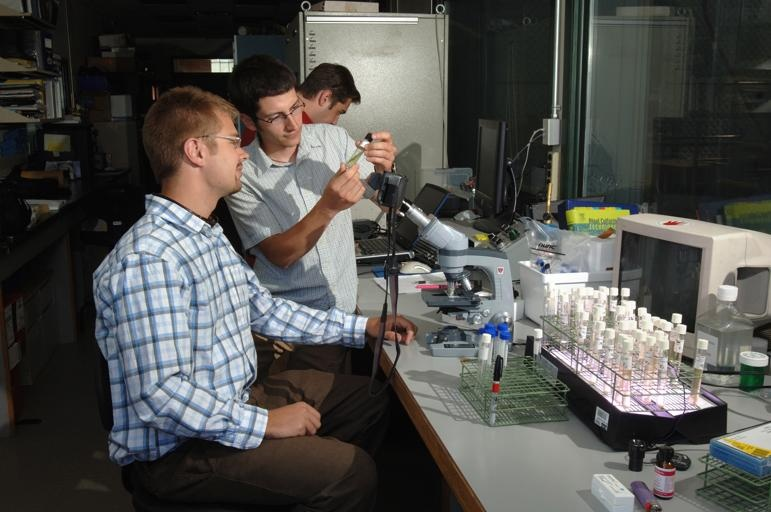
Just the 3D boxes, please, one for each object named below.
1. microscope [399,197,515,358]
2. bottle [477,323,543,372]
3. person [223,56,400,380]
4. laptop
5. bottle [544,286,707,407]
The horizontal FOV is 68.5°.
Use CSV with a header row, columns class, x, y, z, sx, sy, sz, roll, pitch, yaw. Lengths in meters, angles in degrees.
class,x,y,z,sx,sy,sz,roll,pitch,yaw
microscope,0.267,0.115,2.333,0.475,0.640,0.408,-4,23,-12
bottle,0.424,0.315,2.026,0.237,0.177,0.202,1,10,-19
person,-0.315,-0.084,2.648,0.697,1.513,0.708,-3,15,-31
laptop,0.076,-0.154,3.470,0.505,0.522,0.551,4,11,-7
bottle,0.781,0.316,1.887,0.327,0.244,0.611,-1,18,-7
